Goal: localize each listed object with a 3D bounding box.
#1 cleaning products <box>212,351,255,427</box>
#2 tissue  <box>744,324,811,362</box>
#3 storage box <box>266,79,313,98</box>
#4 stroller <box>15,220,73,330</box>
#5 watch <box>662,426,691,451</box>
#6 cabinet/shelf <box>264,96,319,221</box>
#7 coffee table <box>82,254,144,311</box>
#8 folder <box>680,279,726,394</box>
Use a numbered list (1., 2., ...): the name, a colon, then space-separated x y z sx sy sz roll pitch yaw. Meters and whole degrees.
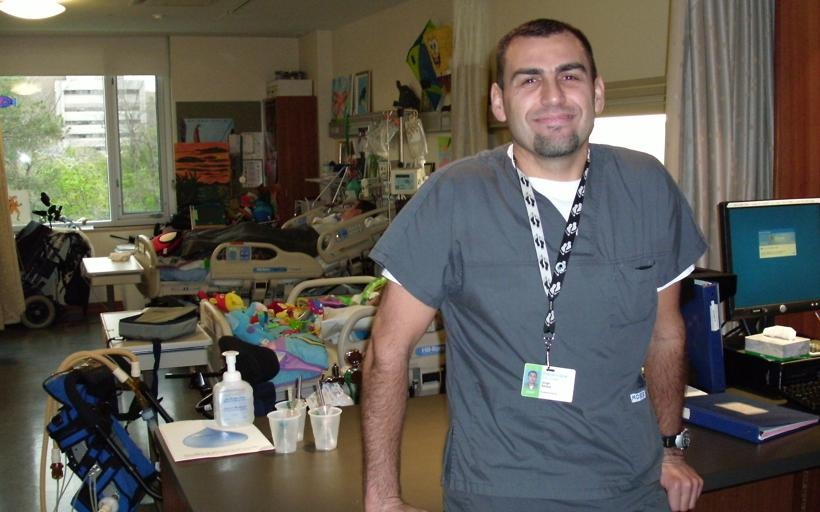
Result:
1. cleaning products: -0.701 0.509 2.524 0.172 0.284 0.173 -4 13 -21
2. tissue : 1.575 0.356 2.720 0.245 0.127 0.263 -2 5 -25
3. storage box: -1.586 -2.261 8.450 0.379 0.157 0.367 -2 6 -10
4. stroller: -4.315 0.189 7.527 0.630 1.234 0.775 -5 12 -23
5. watch: 0.917 0.626 2.143 0.071 0.053 0.091 5 -12 -33
6. cabinet/shelf: -1.563 -1.344 8.696 0.492 1.712 0.741 -5 11 -21
7. coffee table: -2.724 0.157 5.754 0.498 0.267 0.794 -5 7 -26
8. folder: 1.256 0.343 2.680 0.118 0.675 0.229 6 -2 22
